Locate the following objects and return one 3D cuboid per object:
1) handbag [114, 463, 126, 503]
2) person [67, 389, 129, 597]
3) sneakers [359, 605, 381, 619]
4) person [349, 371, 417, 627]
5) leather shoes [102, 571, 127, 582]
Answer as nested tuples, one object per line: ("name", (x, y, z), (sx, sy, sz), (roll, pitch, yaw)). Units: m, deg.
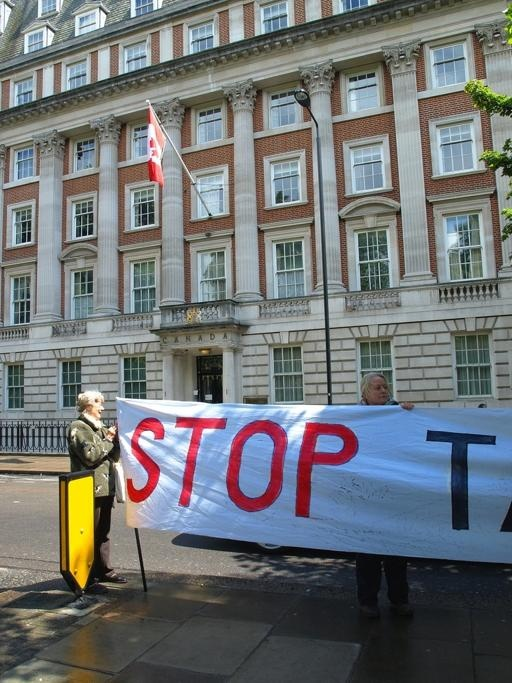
("handbag", (-1.365, 1.413, 7.542), (0.094, 0.349, 0.321), (-1, -17, -6))
("person", (-1.557, 1.479, 7.557), (0.421, 1.927, 0.612), (0, 3, 44))
("sneakers", (0.975, 2.354, 6.577), (0.200, 0.101, 0.146), (0, 2, 26))
("person", (1.173, 1.404, 6.907), (0.538, 2.166, 0.907), (-1, 2, 11))
("leather shoes", (-1.416, 2.378, 7.647), (0.279, 0.116, 0.106), (2, -7, -3))
